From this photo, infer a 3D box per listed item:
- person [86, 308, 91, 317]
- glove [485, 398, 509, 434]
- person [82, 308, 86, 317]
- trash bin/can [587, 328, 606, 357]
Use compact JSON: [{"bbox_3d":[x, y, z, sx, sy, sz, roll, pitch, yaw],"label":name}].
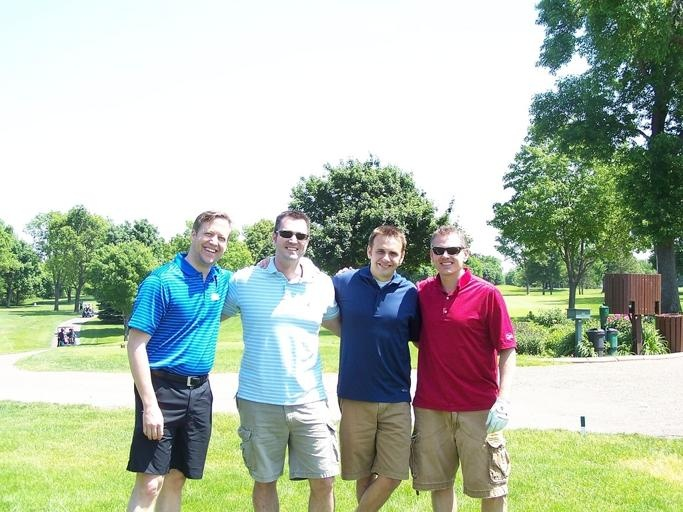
[{"bbox_3d":[-28.187,6.527,73.493,0.543,0.823,1.763,-1,-1,-23],"label":"person"},{"bbox_3d":[2.046,2.114,8.485,0.298,0.409,0.168,29,6,10],"label":"glove"},{"bbox_3d":[-29.083,6.544,74.565,0.547,0.837,0.291,-2,-6,9],"label":"person"},{"bbox_3d":[8.583,2.915,21.939,0.510,0.892,0.565,-1,0,30],"label":"trash bin/can"}]
